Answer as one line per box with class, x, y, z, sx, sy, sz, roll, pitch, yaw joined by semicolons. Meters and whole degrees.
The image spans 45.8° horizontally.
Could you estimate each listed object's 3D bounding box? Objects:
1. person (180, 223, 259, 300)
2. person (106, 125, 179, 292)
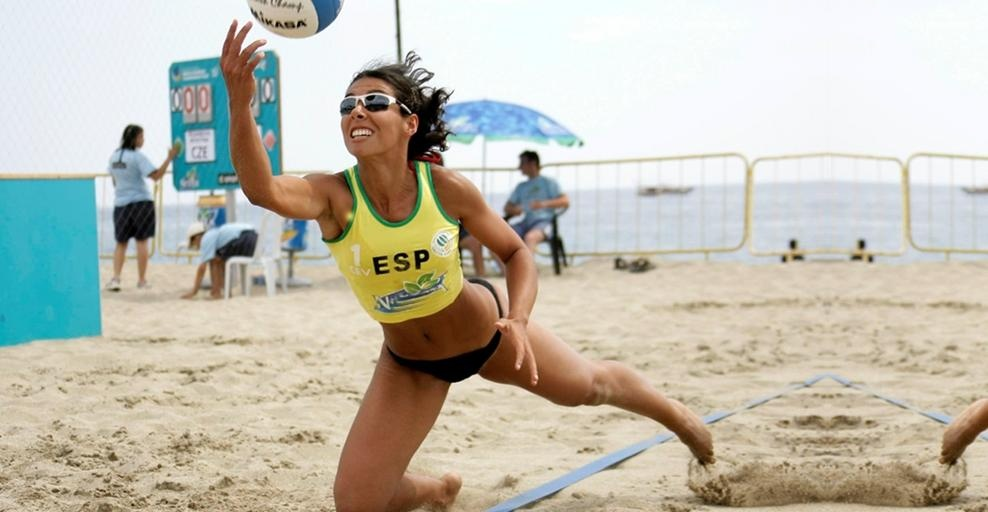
person;-4.238;0.093;17.649;1.258;1.413;1.033;-10;3;-13
person;-4.907;-0.624;16.003;0.827;2.265;0.437;-3;4;-5
